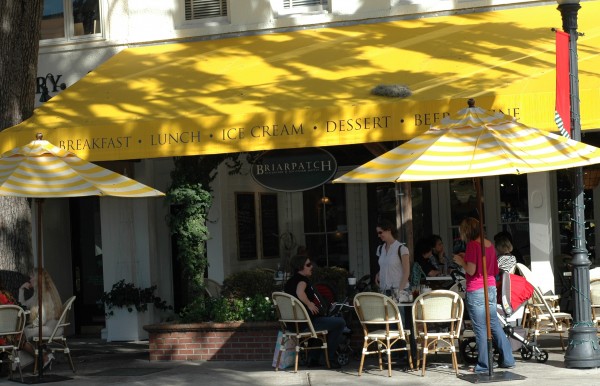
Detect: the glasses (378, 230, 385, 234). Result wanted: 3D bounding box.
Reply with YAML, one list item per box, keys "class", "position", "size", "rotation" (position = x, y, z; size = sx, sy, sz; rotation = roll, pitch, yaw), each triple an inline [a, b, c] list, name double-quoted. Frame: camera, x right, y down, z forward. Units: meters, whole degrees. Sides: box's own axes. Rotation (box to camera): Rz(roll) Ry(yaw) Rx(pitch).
- class: "glasses"
  position: [1.464, 0.724, 17.948]
  size: [0.076, 0.049, 0.064]
  rotation: [7, -7, -30]

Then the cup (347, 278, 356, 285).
- class: "cup"
  position: [0.970, 1.636, 18.285]
  size: [0.147, 0.096, 0.136]
  rotation: [0, -5, 0]

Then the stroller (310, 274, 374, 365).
- class: "stroller"
  position: [0.835, 2.351, 18.743]
  size: [1.683, 1.888, 1.164]
  rotation: [-1, 0, 3]

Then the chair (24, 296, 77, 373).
- class: "chair"
  position: [-4.587, 2.672, 18.794]
  size: [1.416, 1.666, 1.229]
  rotation: [1, -5, -12]

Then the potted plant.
- class: "potted plant"
  position: [-3.550, 2.561, 21.604]
  size: [1.730, 1.426, 1.298]
  rotation: [0, -6, 2]

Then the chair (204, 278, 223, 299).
- class: "chair"
  position: [-1.871, 2.049, 21.382]
  size: [0.357, 0.391, 0.839]
  rotation: [-1, -10, -6]

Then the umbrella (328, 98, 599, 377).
- class: "umbrella"
  position: [3.220, 0.824, 17.589]
  size: [4.979, 4.083, 4.595]
  rotation: [-3, -6, -5]
